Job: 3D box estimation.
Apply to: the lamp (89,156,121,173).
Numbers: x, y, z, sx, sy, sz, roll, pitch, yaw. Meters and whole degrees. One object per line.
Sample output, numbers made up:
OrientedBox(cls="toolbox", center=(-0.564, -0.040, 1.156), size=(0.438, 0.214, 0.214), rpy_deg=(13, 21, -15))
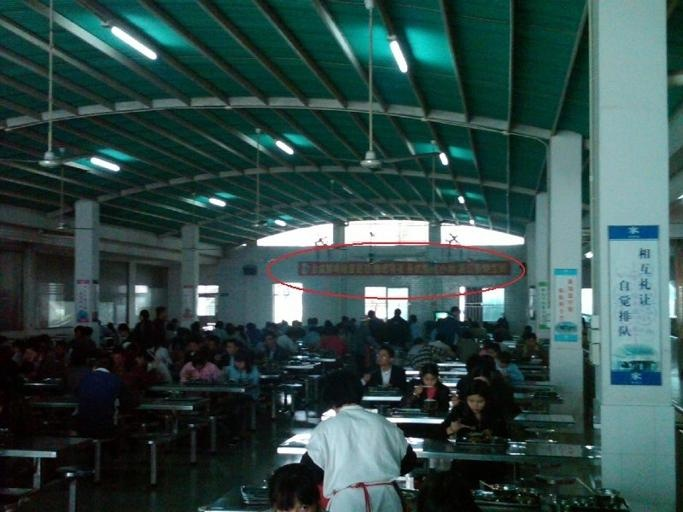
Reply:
OrientedBox(cls="lamp", center=(-5.181, -2.016, 14.508), size=(0.371, 0.127, 0.696), rpy_deg=(3, -5, 35))

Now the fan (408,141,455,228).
OrientedBox(cls="fan", center=(2.258, -1.813, 16.051), size=(1.028, 2.086, 2.215), rpy_deg=(-8, 8, -9))
